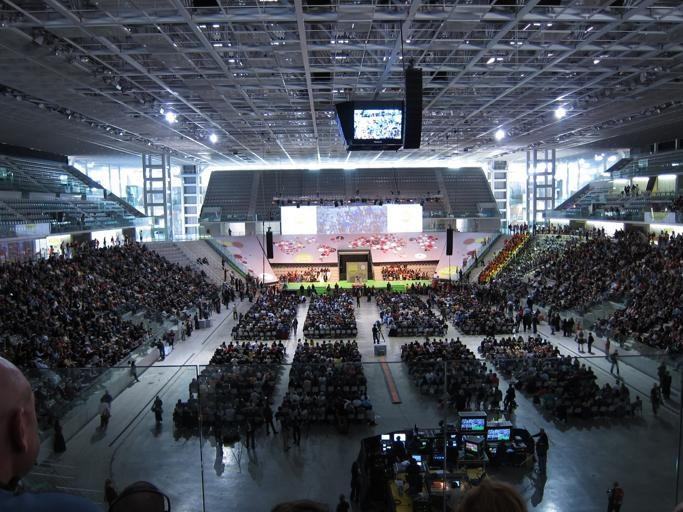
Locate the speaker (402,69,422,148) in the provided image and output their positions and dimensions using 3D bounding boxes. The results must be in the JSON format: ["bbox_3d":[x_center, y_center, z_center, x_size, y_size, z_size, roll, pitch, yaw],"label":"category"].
[{"bbox_3d":[2.177,-4.610,14.471,0.472,2.206,1.380,-2,-1,4],"label":"speaker"}]
